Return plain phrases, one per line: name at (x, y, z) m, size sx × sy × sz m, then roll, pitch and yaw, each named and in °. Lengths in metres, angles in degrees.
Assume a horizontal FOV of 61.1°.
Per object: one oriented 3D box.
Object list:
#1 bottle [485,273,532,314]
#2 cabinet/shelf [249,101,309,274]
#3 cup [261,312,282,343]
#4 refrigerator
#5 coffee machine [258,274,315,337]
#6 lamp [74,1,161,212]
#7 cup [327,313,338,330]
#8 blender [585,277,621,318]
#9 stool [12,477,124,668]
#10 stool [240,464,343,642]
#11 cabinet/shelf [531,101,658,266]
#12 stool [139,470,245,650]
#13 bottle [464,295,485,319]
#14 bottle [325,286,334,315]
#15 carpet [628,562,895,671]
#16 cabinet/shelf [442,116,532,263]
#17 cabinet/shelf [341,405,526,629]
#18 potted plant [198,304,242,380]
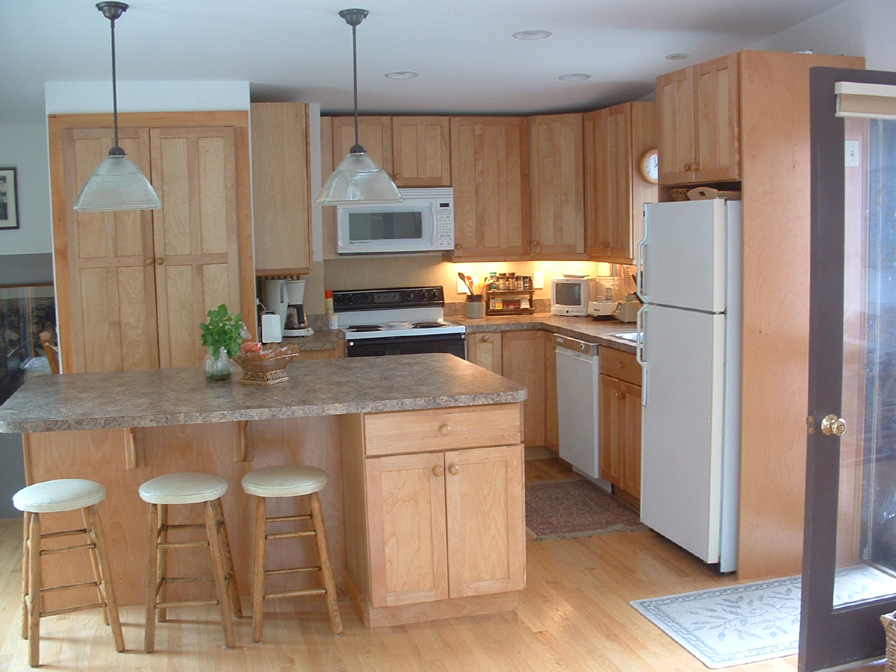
bottle at (0.525, -0.349, 6.450) m, size 0.437 × 0.315 × 0.197 m, roll 0°, pitch 1°, yaw -9°
cabinet/shelf at (-1.156, -1.027, 5.307) m, size 0.425 × 1.160 × 0.180 m, roll -3°, pitch 13°, yaw -8°
cup at (-1.261, -0.057, 5.440) m, size 0.139 × 0.213 × 0.136 m, roll -2°, pitch 12°, yaw 0°
refrigerator at (1.322, 0.249, 4.162) m, size 0.339 × 1.970 × 0.756 m, roll -3°, pitch 13°, yaw -7°
coffee machine at (-1.211, -0.226, 5.736) m, size 0.574 × 0.569 × 0.385 m, roll -1°, pitch 8°, yaw -5°
lamp at (-1.717, -1.121, 3.853) m, size 0.372 × 0.964 × 1.201 m, roll -7°, pitch 12°, yaw -22°
cup at (-0.920, -0.121, 6.142) m, size 0.083 × 0.128 × 0.305 m, roll -3°, pitch 10°, yaw -9°
blender at (1.284, -0.292, 6.048) m, size 0.275 × 0.324 × 0.260 m, roll 4°, pitch 5°, yaw -27°
stool at (-1.785, 1.049, 3.536) m, size 0.431 × 0.786 × 0.591 m, roll -7°, pitch 13°, yaw -25°
stool at (-0.768, 0.997, 3.713) m, size 0.430 × 0.779 × 0.537 m, roll -4°, pitch 12°, yaw -12°
cabinet/shelf at (1.105, -1.164, 5.851) m, size 0.359 × 1.171 × 0.977 m, roll -10°, pitch 14°, yaw -33°
stool at (-1.233, 1.022, 3.613) m, size 0.441 × 0.769 × 0.561 m, roll -5°, pitch 12°, yaw -15°
bottle at (0.226, -0.246, 6.356) m, size 0.222 × 0.183 × 0.187 m, roll -1°, pitch 6°, yaw -9°
bottle at (-0.952, -0.282, 6.179) m, size 0.081 × 0.198 × 0.251 m, roll -4°, pitch 11°, yaw -8°
carpet at (1.430, 1.359, 3.653) m, size 0.887 × 0.037 × 0.603 m, roll -4°, pitch 10°, yaw -18°
cabinet/shelf at (0.345, -1.201, 6.189) m, size 0.592 × 1.120 × 0.209 m, roll -1°, pitch 13°, yaw 2°
cabinet/shelf at (-0.053, 0.836, 3.683) m, size 0.891 × 1.042 × 0.392 m, roll -3°, pitch 13°, yaw -6°
potted plant at (-1.147, 0.026, 3.895) m, size 0.210 × 0.387 × 0.232 m, roll -5°, pitch 13°, yaw -16°
